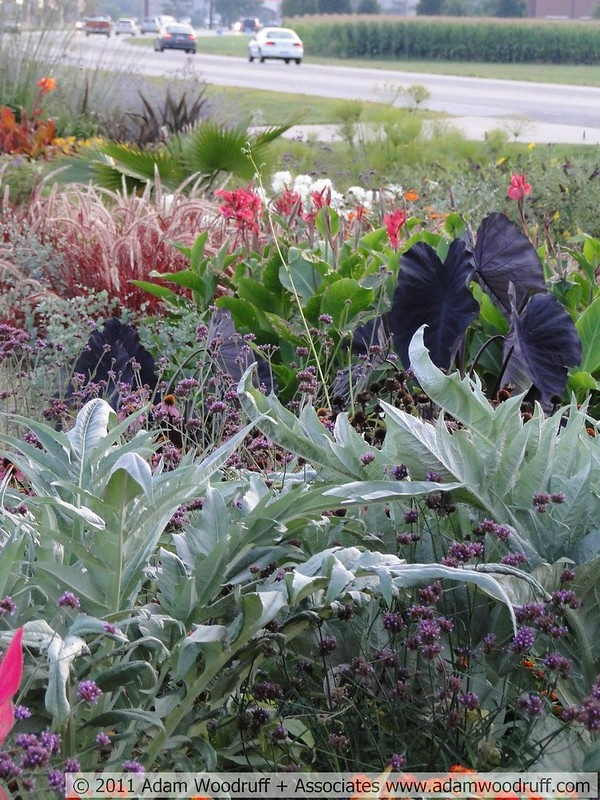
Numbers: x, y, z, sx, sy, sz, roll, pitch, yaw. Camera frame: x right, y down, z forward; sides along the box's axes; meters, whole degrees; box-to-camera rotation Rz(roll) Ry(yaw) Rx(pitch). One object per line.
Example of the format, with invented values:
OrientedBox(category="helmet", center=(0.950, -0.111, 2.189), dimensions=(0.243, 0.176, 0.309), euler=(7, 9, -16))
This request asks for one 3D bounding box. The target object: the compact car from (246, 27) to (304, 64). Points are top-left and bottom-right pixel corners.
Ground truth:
OrientedBox(category="compact car", center=(-0.607, -9.066, 32.546), dimensions=(1.325, 0.943, 1.427), euler=(1, 21, -5))
